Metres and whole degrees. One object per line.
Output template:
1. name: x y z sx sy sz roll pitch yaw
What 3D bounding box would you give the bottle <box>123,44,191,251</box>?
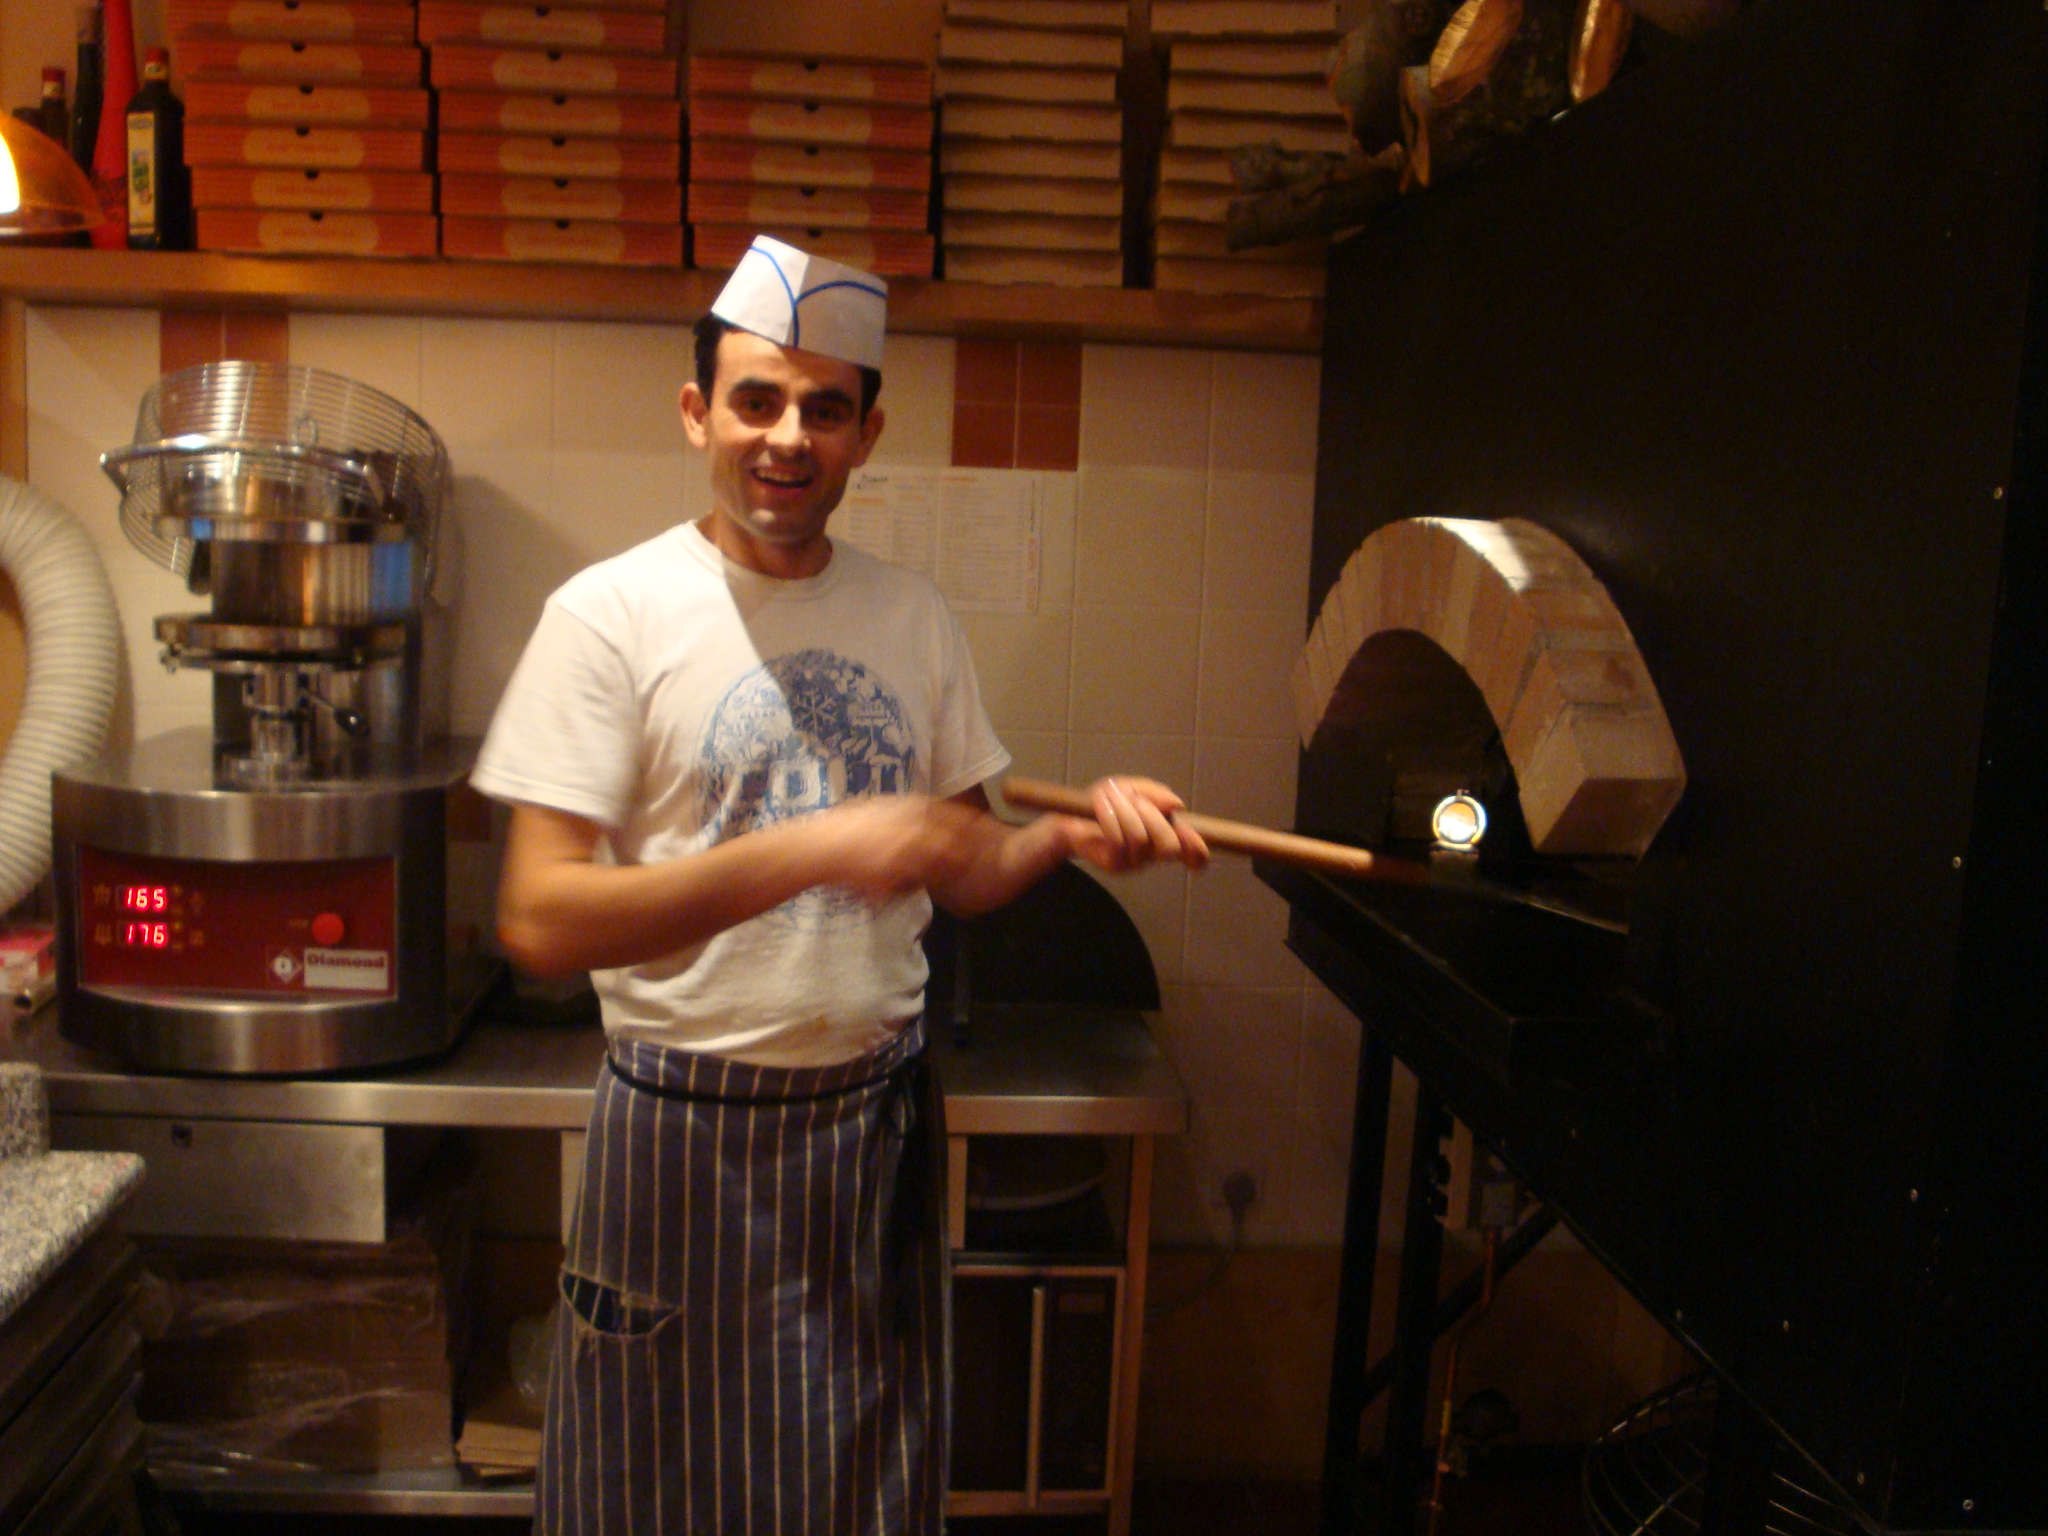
1. bottle: -1.387 -0.989 3.040 0.106 0.307 0.076 -6 11 -43

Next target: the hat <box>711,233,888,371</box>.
1. hat: -0.281 -0.585 2.375 0.215 0.157 0.114 0 8 -11
